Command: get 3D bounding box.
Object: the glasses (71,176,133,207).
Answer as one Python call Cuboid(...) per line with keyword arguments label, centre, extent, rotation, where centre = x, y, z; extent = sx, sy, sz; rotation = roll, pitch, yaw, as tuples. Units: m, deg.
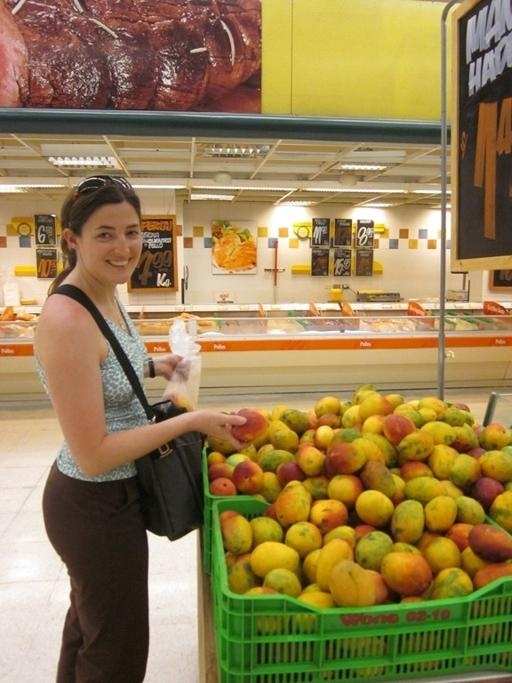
Cuboid(label="glasses", centre=(-0.342, -0.358, 1.175), extent=(0.135, 0.057, 0.108), rotation=(-4, 11, -21))
